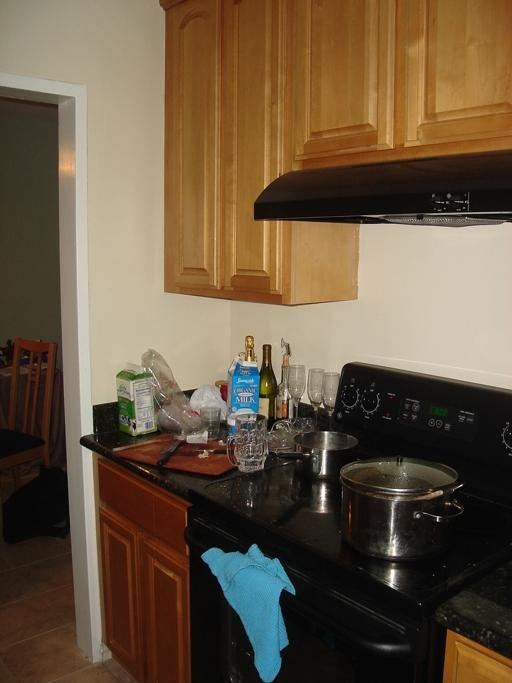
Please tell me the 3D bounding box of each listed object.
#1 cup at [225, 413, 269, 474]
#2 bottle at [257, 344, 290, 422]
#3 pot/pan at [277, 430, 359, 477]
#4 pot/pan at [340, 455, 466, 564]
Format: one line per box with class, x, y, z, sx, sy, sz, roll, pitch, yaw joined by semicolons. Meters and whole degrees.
cup;-0.018;0.270;1.538;0.090;0.159;0.154;7;13;26
bottle;0.061;0.136;1.978;0.105;0.266;0.240;2;8;3
pot/pan;0.168;0.265;1.460;0.185;0.070;0.103;-12;15;-39
pot/pan;0.279;0.320;1.115;0.227;0.150;0.227;3;8;9
